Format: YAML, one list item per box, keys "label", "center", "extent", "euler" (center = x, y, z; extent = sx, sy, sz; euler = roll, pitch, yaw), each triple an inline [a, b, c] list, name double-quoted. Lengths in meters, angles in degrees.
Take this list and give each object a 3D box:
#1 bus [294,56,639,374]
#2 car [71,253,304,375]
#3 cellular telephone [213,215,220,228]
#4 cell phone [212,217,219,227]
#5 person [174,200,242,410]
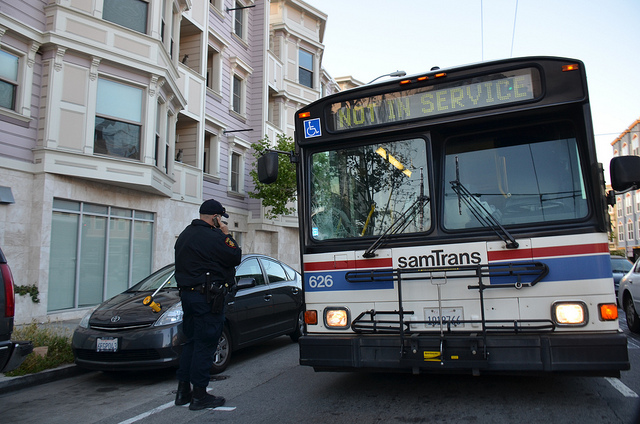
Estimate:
- label: "bus"
  center: [2.532, 0.548, 9.120]
  extent: [3.352, 3.107, 5.592]
  euler: [-5, -11, 16]
- label: "car"
  center: [-1.999, 1.919, 10.125]
  extent: [2.161, 1.646, 4.875]
  euler: [-7, -11, 26]
- label: "cellular telephone"
  center: [-1.668, 0.153, 7.739]
  extent: [0.048, 0.113, 0.157]
  euler: [-5, -43, -6]
- label: "cell phone"
  center: [-1.689, 0.149, 7.727]
  extent: [0.032, 0.137, 0.093]
  euler: [-13, 1, 32]
- label: "person"
  center: [-1.763, 1.350, 7.404]
  extent: [0.965, 3.123, 0.665]
  euler: [-2, -2, -18]
